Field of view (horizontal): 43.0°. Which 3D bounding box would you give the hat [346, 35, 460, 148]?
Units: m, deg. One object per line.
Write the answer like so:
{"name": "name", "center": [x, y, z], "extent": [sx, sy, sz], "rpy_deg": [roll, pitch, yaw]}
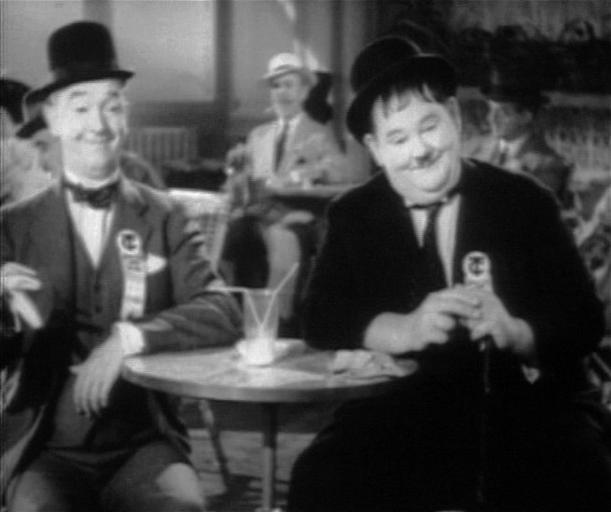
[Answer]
{"name": "hat", "center": [0.325, -0.614, 2.777], "extent": [0.352, 0.134, 0.301], "rpy_deg": [-38, 2, -27]}

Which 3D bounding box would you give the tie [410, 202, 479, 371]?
{"name": "tie", "center": [0.500, 0.095, 2.846], "extent": [0.175, 0.648, 0.209], "rpy_deg": [2, 5, 45]}

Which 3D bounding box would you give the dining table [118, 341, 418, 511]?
{"name": "dining table", "center": [-0.152, 0.406, 2.513], "extent": [0.611, 0.476, 0.643], "rpy_deg": [0, -1, 14]}

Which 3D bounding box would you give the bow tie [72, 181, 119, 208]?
{"name": "bow tie", "center": [-0.766, -0.202, 2.803], "extent": [0.113, 0.044, 0.108], "rpy_deg": [2, -2, -45]}
